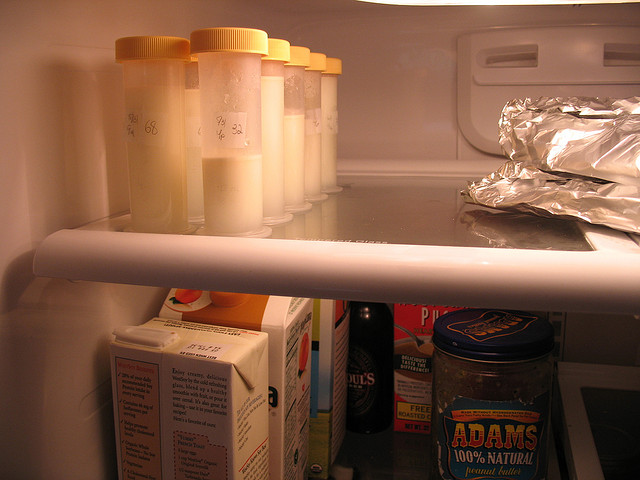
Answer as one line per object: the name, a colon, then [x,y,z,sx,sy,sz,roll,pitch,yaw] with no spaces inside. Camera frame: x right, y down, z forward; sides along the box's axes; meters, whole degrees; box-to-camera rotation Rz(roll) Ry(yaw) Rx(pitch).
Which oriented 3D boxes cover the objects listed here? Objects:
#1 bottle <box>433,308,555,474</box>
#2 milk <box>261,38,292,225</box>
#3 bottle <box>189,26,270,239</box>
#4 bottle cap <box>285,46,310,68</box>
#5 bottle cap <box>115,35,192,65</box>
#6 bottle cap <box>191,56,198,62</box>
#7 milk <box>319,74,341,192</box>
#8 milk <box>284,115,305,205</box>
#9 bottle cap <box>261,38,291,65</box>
bottle: [0.271,0.245,0.839,0.179,0.240,0.173,-3,17,1]
milk: [-0.072,-0.166,0.827,0.052,0.258,0.064,9,22,13]
bottle: [-0.126,-0.148,0.749,0.140,0.281,0.223,-6,18,-10]
bottle cap: [-0.033,-0.307,0.881,0.037,0.023,0.038,1,8,8]
bottle cap: [-0.229,-0.264,0.728,0.099,0.034,0.047,-8,18,-17]
bottle cap: [-0.183,-0.265,0.770,0.012,0.003,0.013,-6,9,-39]
milk: [0.019,-0.211,1.038,0.037,0.200,0.046,4,22,4]
milk: [-0.053,-0.137,0.902,0.029,0.141,0.040,12,21,23]
bottle cap: [-0.060,-0.280,0.783,0.038,0.022,0.038,0,9,0]
